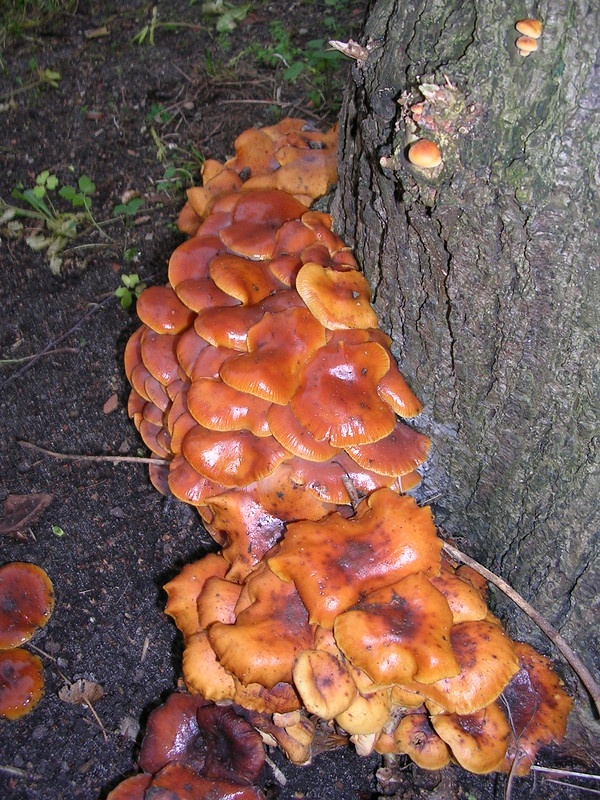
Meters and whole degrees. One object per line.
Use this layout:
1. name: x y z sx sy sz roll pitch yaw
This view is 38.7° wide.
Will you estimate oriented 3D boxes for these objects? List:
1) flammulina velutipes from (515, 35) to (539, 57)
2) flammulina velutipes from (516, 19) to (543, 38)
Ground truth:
1. flammulina velutipes: 0.754 -1.174 2.832 0.062 0.065 0.035 58 6 4
2. flammulina velutipes: 0.765 -1.232 2.829 0.074 0.062 0.020 15 9 12
